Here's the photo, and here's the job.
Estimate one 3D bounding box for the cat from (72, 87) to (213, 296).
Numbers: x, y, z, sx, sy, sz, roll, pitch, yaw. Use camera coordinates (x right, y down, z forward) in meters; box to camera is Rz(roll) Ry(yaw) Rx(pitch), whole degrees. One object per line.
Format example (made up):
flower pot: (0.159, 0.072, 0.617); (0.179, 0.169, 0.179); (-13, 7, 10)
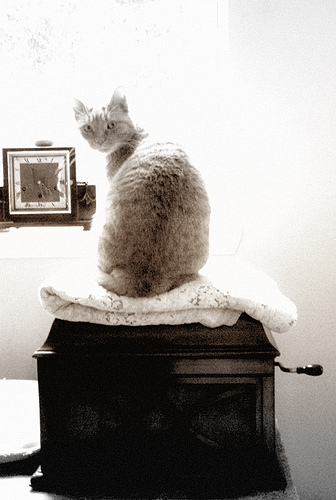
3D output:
cat: (-0.052, -0.132, 1.395); (0.215, 0.379, 0.293); (-2, 12, -19)
